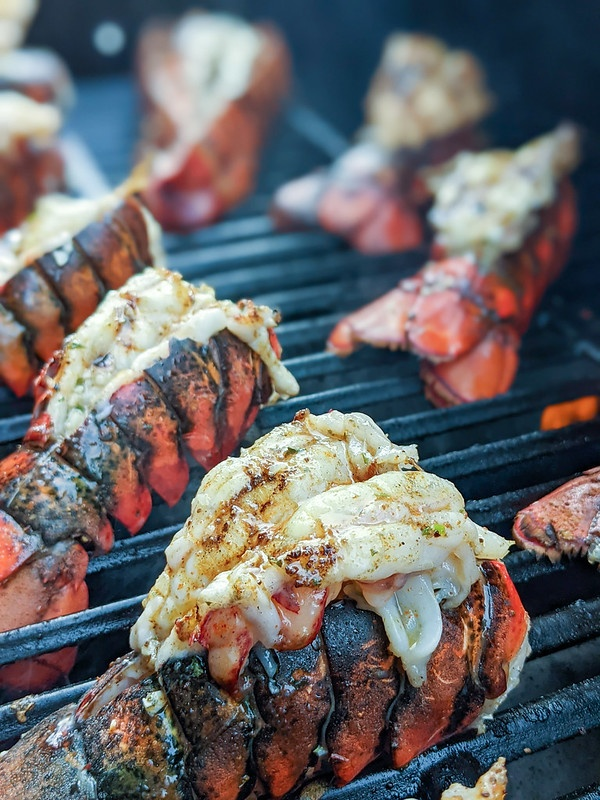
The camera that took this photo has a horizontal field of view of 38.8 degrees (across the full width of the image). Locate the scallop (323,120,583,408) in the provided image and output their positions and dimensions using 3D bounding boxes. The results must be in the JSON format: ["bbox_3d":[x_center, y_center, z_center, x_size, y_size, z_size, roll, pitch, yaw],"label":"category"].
[{"bbox_3d":[0.462,-0.310,2.073,0.428,0.256,0.661,37,100,38],"label":"scallop"}]
